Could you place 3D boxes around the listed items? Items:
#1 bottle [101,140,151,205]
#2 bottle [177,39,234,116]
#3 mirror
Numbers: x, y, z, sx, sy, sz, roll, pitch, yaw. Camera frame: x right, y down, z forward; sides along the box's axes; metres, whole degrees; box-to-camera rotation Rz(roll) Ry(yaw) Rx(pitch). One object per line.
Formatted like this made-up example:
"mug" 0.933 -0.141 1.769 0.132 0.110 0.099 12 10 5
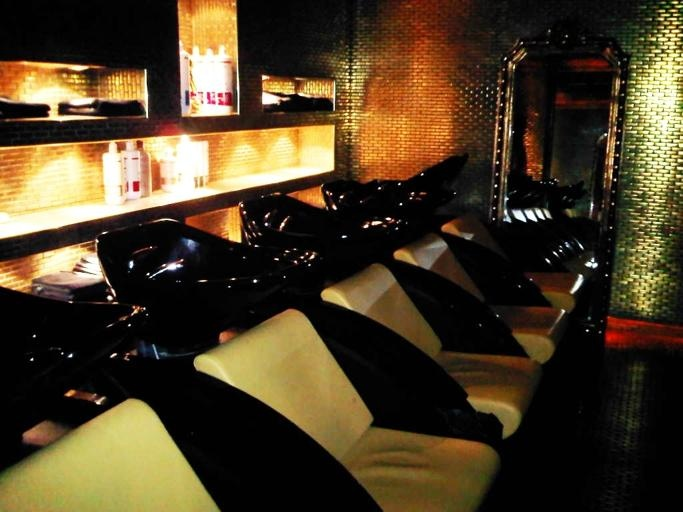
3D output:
"bottle" -1.224 -0.467 2.997 0.125 0.335 0.365 3 9 13
"bottle" -0.869 -1.111 3.350 0.287 0.487 0.473 6 10 16
"mirror" 1.708 -0.800 4.241 0.905 2.133 0.063 5 -5 9
